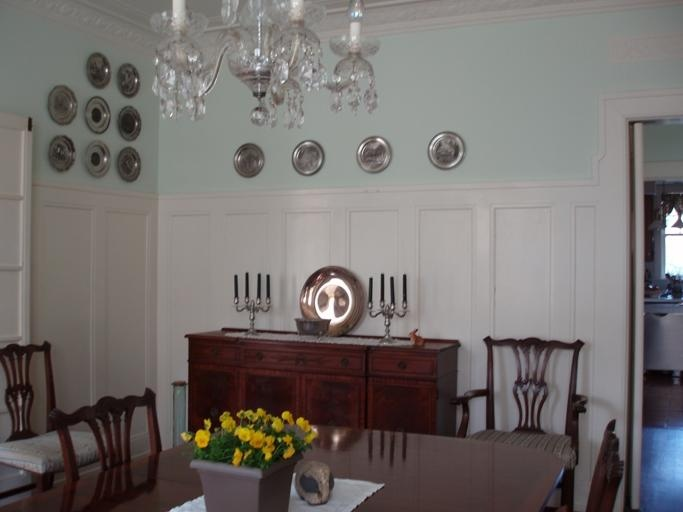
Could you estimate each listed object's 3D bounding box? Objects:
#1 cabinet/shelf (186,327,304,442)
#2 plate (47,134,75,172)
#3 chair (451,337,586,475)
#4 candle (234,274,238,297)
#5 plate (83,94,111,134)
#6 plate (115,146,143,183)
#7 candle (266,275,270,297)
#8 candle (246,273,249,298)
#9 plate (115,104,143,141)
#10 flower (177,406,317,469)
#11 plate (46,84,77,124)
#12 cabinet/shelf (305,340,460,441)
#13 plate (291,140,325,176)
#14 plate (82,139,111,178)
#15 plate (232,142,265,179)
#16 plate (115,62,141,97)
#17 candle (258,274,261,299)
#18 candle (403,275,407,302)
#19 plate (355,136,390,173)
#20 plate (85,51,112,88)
[{"bbox_3d":[-0.731,0.980,4.315,0.808,0.895,0.333,-2,-3,25],"label":"cabinet/shelf"},{"bbox_3d":[-2.421,-0.888,4.865,0.052,0.325,0.232,0,0,24],"label":"plate"},{"bbox_3d":[1.370,1.313,4.250,0.938,1.412,0.837,-4,-10,34],"label":"chair"},{"bbox_3d":[-0.994,0.287,5.307,0.033,0.176,0.191,-1,0,-11],"label":"candle"},{"bbox_3d":[-2.234,-1.295,5.152,0.057,0.340,0.261,0,0,24],"label":"plate"},{"bbox_3d":[-2.063,-0.889,5.488,0.052,0.329,0.292,0,0,22],"label":"plate"},{"bbox_3d":[-0.688,0.287,5.308,0.045,0.172,0.126,-1,0,-6],"label":"candle"},{"bbox_3d":[-0.900,0.278,5.387,0.034,0.197,0.156,-1,0,-11],"label":"candle"},{"bbox_3d":[-2.055,-1.292,5.469,0.043,0.322,0.278,0,0,28],"label":"plate"},{"bbox_3d":[-0.292,0.680,2.276,0.431,0.213,0.448,-1,-3,35],"label":"flower"},{"bbox_3d":[-2.409,-1.314,4.852,0.040,0.284,0.257,3,19,26],"label":"plate"},{"bbox_3d":[0.357,0.978,4.670,1.052,1.196,0.647,1,0,25],"label":"cabinet/shelf"},{"bbox_3d":[-0.300,-0.901,5.333,0.310,0.056,0.333,-8,42,-27],"label":"plate"},{"bbox_3d":[-2.241,-0.897,5.163,0.036,0.331,0.253,0,0,29],"label":"plate"},{"bbox_3d":[-0.886,-0.931,5.461,0.299,0.346,0.064,16,12,26],"label":"plate"},{"bbox_3d":[-2.061,-1.706,5.441,0.055,0.282,0.252,3,5,24],"label":"plate"},{"bbox_3d":[-0.773,0.285,5.321,0.041,0.195,0.204,-1,0,-9],"label":"candle"},{"bbox_3d":[0.557,0.289,4.922,0.036,0.251,0.140,0,0,7],"label":"candle"},{"bbox_3d":[0.294,-0.984,5.229,0.414,0.099,0.416,-46,17,2],"label":"plate"},{"bbox_3d":[-2.262,-1.712,5.184,0.256,0.256,0.051,-39,2,41],"label":"plate"}]
